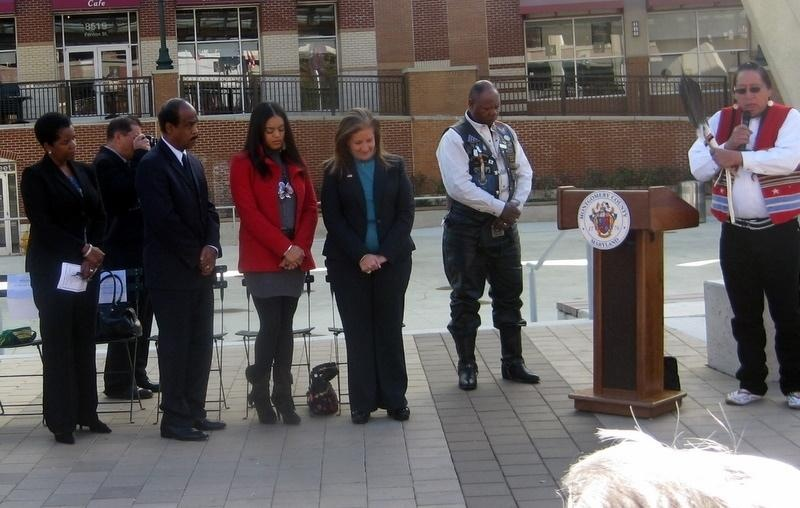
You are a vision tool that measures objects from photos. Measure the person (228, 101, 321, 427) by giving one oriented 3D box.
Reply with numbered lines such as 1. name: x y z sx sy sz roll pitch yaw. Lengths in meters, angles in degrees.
1. person: -1.175 0.086 7.562 0.680 2.933 0.807 3 15 21

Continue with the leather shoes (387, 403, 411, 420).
1. leather shoes: -0.001 1.485 7.560 0.113 0.087 0.209 2 -6 -23

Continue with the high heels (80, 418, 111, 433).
1. high heels: -2.831 1.566 7.459 0.272 0.100 0.135 3 8 -8

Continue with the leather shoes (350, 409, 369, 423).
1. leather shoes: -0.372 1.509 7.525 0.172 0.111 0.094 -5 13 -11

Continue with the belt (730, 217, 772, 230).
1. belt: 3.228 -0.275 7.397 0.351 0.111 0.039 4 15 25

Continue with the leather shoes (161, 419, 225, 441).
1. leather shoes: -1.929 1.597 7.294 0.300 0.081 0.284 -5 -4 12

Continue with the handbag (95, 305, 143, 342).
1. handbag: -2.688 0.659 7.620 0.407 0.354 0.210 -1 -27 -28

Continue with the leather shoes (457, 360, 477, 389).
1. leather shoes: 0.684 1.227 8.239 0.183 0.250 0.241 -2 13 2

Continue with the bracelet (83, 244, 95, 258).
1. bracelet: -2.818 -0.025 7.252 0.027 0.098 0.104 42 -30 -24

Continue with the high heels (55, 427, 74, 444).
1. high heels: -3.001 1.621 7.255 0.193 0.165 0.096 0 6 4

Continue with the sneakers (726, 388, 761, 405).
1. sneakers: 3.223 1.337 7.582 0.279 0.098 0.149 -6 3 -6

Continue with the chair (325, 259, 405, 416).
1. chair: -0.266 0.770 7.593 0.771 1.382 0.453 -3 14 -4

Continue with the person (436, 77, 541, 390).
1. person: 0.899 -0.205 8.251 0.926 3.027 0.864 -4 14 -5

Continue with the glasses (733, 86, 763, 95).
1. glasses: 3.163 -1.473 7.341 0.217 0.067 0.063 2 14 19

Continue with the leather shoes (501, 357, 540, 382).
1. leather shoes: 1.201 1.212 8.407 0.439 0.172 0.188 -2 -1 43
